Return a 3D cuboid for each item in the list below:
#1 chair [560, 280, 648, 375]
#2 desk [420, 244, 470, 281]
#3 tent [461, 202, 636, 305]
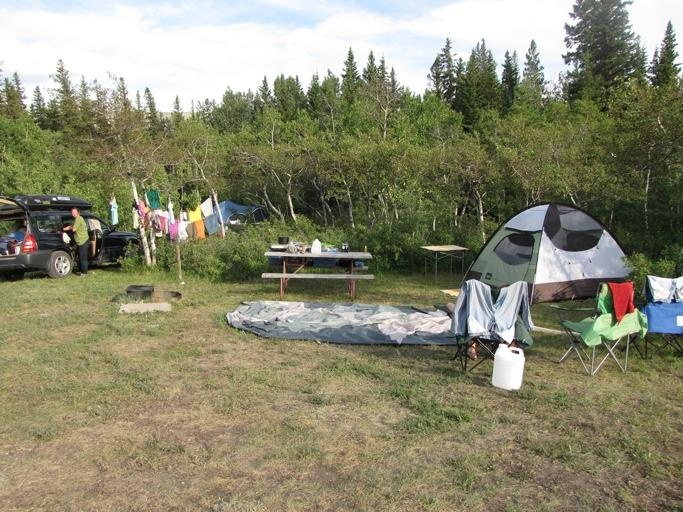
[{"bbox_3d":[4.630,1.297,11.143,1.354,2.051,1.557,1,3,-21],"label":"chair"},{"bbox_3d":[3.161,-0.056,18.567,1.301,1.118,1.040,-3,6,-24],"label":"desk"},{"bbox_3d":[4.914,-0.090,14.650,2.984,2.167,2.324,-2,5,-30],"label":"tent"}]
